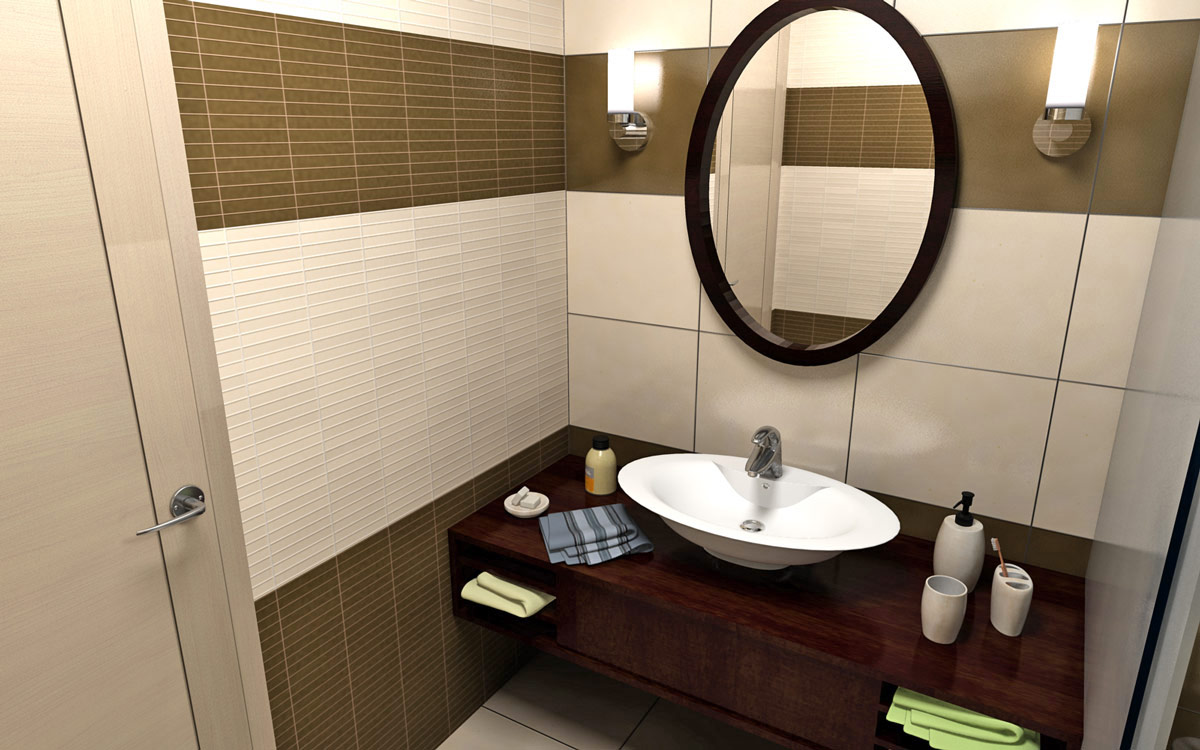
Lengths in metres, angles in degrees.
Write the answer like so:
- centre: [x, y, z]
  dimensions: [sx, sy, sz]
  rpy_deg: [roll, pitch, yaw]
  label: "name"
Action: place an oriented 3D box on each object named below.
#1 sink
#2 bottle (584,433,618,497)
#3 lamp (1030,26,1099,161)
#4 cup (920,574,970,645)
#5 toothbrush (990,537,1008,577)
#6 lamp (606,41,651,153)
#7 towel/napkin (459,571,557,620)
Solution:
- centre: [0.478, 0.438, 2.449]
  dimensions: [0.854, 0.169, 0.448]
  rpy_deg: [9, 26, 19]
  label: "sink"
- centre: [0.001, 0.315, 2.780]
  dimensions: [0.115, 0.210, 0.133]
  rpy_deg: [-1, 26, -1]
  label: "bottle"
- centre: [1.314, -0.792, 2.151]
  dimensions: [0.147, 0.360, 0.093]
  rpy_deg: [12, 29, 24]
  label: "lamp"
- centre: [0.976, 0.652, 2.186]
  dimensions: [0.115, 0.162, 0.165]
  rpy_deg: [15, 29, 28]
  label: "cup"
- centre: [1.219, 0.553, 2.354]
  dimensions: [0.028, 0.150, 0.036]
  rpy_deg: [-14, 10, -28]
  label: "toothbrush"
- centre: [0.101, -0.938, 2.662]
  dimensions: [0.148, 0.334, 0.073]
  rpy_deg: [1, 26, 2]
  label: "lamp"
- centre: [-0.321, 0.723, 2.571]
  dimensions: [0.206, 0.057, 0.202]
  rpy_deg: [8, 11, 29]
  label: "towel/napkin"
